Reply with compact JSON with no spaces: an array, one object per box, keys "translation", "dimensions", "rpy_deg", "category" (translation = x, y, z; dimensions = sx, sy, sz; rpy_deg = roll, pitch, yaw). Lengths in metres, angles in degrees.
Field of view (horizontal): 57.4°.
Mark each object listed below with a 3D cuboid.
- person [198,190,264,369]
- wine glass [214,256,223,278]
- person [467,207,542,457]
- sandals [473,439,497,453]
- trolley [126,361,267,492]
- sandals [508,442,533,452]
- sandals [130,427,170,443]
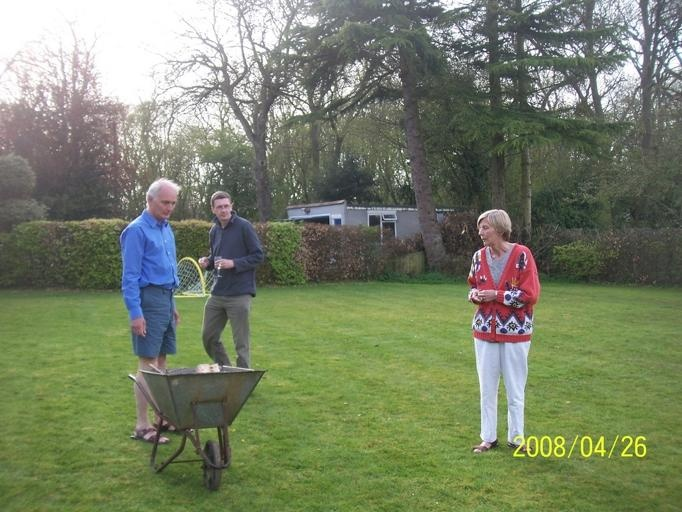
[{"translation":[-1.626,0.459,9.166],"dimensions":[0.898,2.761,1.023],"rpy_deg":[-2,10,-14],"category":"person"},{"translation":[-1.786,0.182,8.994],"dimensions":[0.103,0.306,0.260],"rpy_deg":[-2,10,-13],"category":"wine glass"},{"translation":[2.058,0.960,7.980],"dimensions":[0.839,3.047,0.602],"rpy_deg":[3,10,17],"category":"person"},{"translation":[1.859,2.461,8.116],"dimensions":[0.340,0.147,0.132],"rpy_deg":[-4,-5,-18],"category":"sandals"},{"translation":[-1.794,1.983,7.623],"dimensions":[1.076,1.165,1.791],"rpy_deg":[2,-7,-30],"category":"trolley"},{"translation":[2.315,2.479,8.056],"dimensions":[0.294,0.147,0.130],"rpy_deg":[0,3,21],"category":"sandals"},{"translation":[-2.499,2.306,8.230],"dimensions":[0.537,0.250,0.226],"rpy_deg":[-1,-2,18],"category":"sandals"}]
